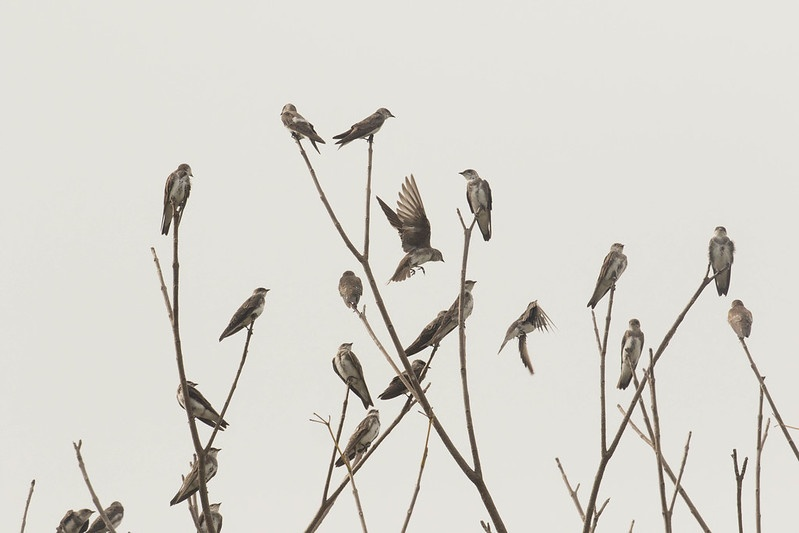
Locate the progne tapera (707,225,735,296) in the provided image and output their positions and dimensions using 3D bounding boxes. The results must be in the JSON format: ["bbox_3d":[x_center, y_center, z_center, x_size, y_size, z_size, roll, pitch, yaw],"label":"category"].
[{"bbox_3d":[2.939,-0.060,14.173,0.193,0.348,0.662,-1,-71,10],"label":"progne tapera"}]

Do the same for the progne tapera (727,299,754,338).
[{"bbox_3d":[3.066,0.507,13.944,0.194,0.442,0.264,1,-36,-1],"label":"progne tapera"}]
